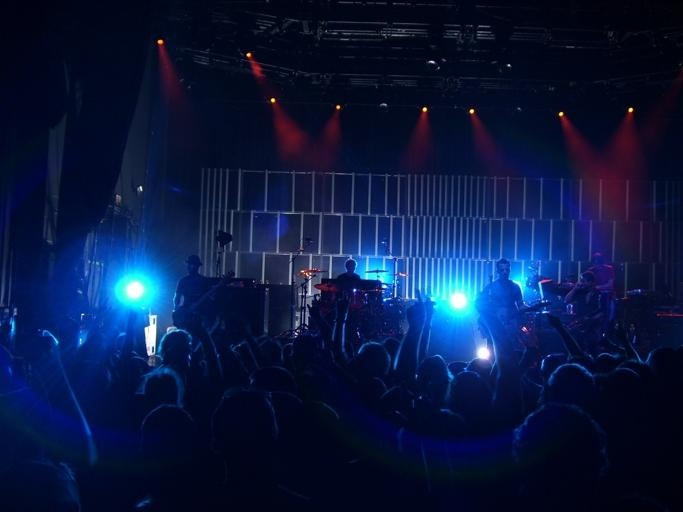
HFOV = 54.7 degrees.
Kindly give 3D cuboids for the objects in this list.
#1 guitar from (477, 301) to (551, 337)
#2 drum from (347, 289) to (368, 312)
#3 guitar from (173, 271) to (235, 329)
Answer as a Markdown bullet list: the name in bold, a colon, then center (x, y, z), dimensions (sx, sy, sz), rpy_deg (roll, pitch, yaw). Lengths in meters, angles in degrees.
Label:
- **guitar**: center (2.101, 0.747, 7.823), dimensions (0.589, 0.375, 1.025), rpy_deg (0, -3, -22)
- **drum**: center (0.174, 0.668, 10.345), dimensions (0.256, 0.307, 0.514), rpy_deg (7, 7, 8)
- **guitar**: center (-1.541, 0.506, 7.475), dimensions (0.365, 0.982, 0.118), rpy_deg (30, -40, -5)
